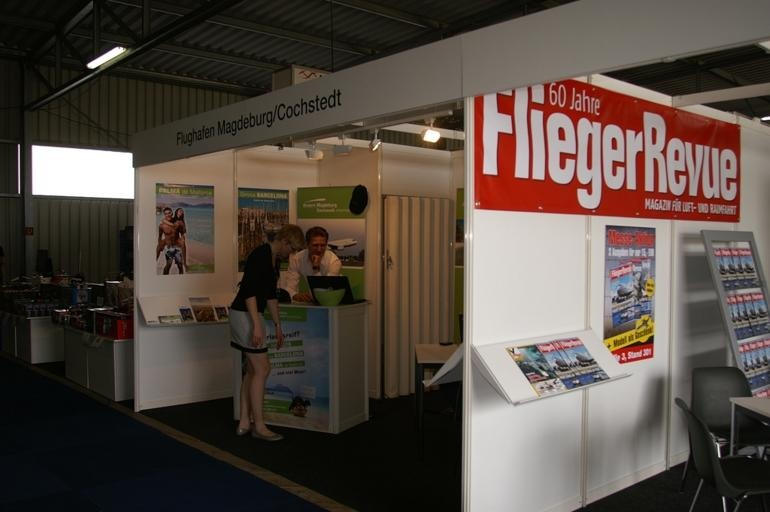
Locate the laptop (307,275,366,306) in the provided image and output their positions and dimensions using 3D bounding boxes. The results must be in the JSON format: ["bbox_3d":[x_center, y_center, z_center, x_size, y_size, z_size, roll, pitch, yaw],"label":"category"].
[{"bbox_3d":[-0.565,0.311,6.209,0.424,0.284,0.334,0,4,14],"label":"laptop"}]

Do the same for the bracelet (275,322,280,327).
[{"bbox_3d":[-1.114,0.702,5.854,0.046,0.041,0.053,-1,-4,3],"label":"bracelet"}]

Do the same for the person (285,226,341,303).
[{"bbox_3d":[-0.938,0.178,7.275,0.699,1.083,0.763,2,18,-10],"label":"person"}]

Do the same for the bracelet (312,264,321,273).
[{"bbox_3d":[-0.878,0.162,7.230,0.077,0.114,0.052,7,17,20],"label":"bracelet"}]

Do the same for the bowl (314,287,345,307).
[{"bbox_3d":[-0.591,0.435,6.065,0.223,0.120,0.219,1,-7,0],"label":"bowl"}]

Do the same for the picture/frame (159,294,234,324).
[{"bbox_3d":[-2.320,0.641,6.827,0.879,0.306,0.037,0,5,-16],"label":"picture/frame"}]
